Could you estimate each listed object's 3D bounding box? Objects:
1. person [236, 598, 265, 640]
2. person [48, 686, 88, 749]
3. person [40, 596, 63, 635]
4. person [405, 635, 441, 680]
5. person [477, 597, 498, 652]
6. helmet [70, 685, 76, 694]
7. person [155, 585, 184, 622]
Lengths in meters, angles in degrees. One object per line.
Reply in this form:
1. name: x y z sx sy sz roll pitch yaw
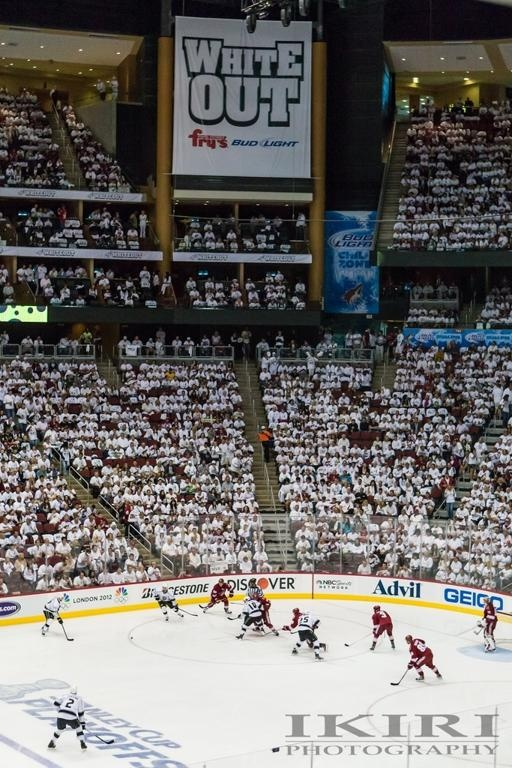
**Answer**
1. person: -0.139 5.102 33.489 0.589 1.115 0.866 0 14 0
2. person: -3.186 5.778 26.250 0.517 0.396 1.165 3 55 -2
3. person: -4.480 5.011 33.654 0.458 0.986 1.266 -2 15 -8
4. person: 3.282 5.338 30.059 0.678 1.186 1.078 2 15 8
5. person: 4.875 4.989 32.478 0.377 1.389 1.276 2 15 9
6. helmet: -3.123 5.226 26.208 0.072 0.123 0.107 3 9 2
7. person: -1.999 5.068 35.242 0.353 0.937 0.547 -4 52 6
